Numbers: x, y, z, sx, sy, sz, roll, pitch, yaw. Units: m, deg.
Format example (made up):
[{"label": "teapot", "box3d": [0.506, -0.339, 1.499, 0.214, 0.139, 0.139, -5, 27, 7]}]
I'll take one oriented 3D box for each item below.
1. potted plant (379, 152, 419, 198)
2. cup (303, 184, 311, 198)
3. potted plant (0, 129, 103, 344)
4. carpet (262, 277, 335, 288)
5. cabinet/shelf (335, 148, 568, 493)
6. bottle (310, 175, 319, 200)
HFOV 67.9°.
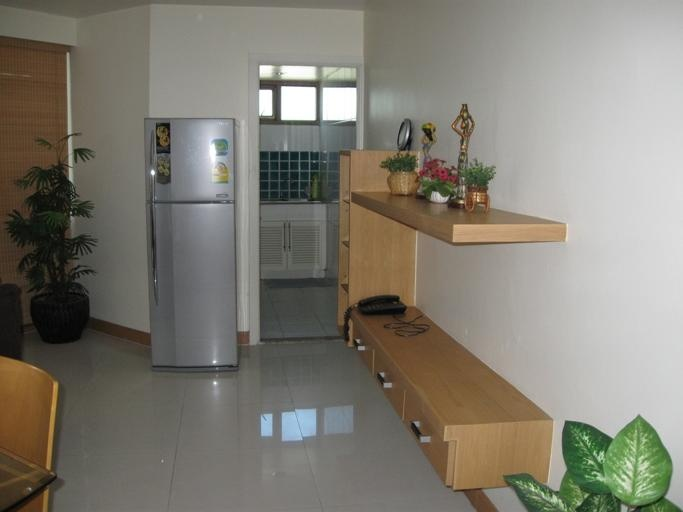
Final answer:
[{"label": "potted plant", "box3d": [0.399, -0.538, 3.507, 0.273, 0.343, 0.303, -2, 5, -24]}, {"label": "cup", "box3d": [-0.529, -1.018, 7.918, 0.112, 0.209, 0.201, 1, -3, -8]}, {"label": "potted plant", "box3d": [-2.828, -0.160, 4.979, 0.824, 2.068, 0.875, 1, 11, 0]}, {"label": "carpet", "box3d": [-0.598, 0.370, 7.421, 1.061, 0.043, 0.485, -2, 13, -11]}, {"label": "cabinet/shelf", "box3d": [0.603, 0.352, 2.808, 0.470, 1.438, 1.897, 0, 11, -14]}, {"label": "bottle", "box3d": [-0.404, -1.076, 7.790, 0.147, 0.365, 0.351, 0, 12, -4]}]
